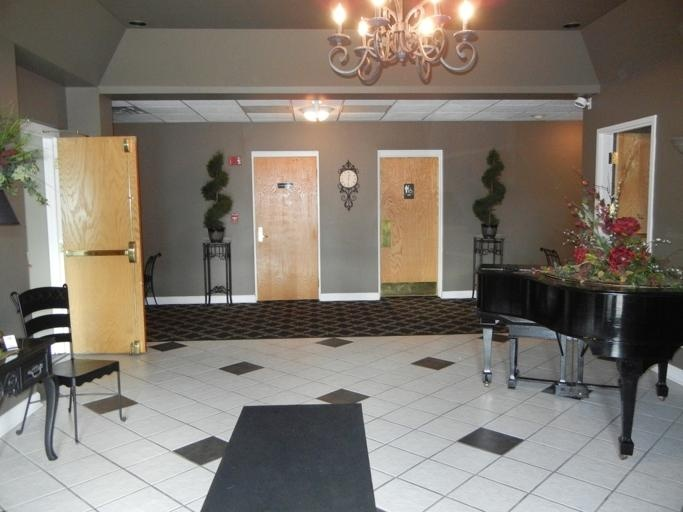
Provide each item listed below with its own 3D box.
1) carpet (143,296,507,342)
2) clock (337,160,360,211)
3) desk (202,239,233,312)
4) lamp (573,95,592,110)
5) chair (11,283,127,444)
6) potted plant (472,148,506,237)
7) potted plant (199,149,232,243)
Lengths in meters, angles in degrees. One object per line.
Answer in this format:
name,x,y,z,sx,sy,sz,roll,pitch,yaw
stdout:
carpet,-0.447,0.980,7.774,5.159,0.099,2.295,-1,9,-3
clock,0.121,-1.280,8.824,0.390,0.874,0.096,-2,10,-6
desk,-2.253,0.297,8.847,0.464,1.120,0.358,-2,1,-11
lamp,3.187,-2.040,6.486,0.211,0.225,0.155,-5,21,-12
chair,-2.431,0.916,4.360,0.764,1.202,0.723,4,3,15
potted plant,2.683,-1.137,8.849,0.528,1.590,0.617,4,11,27
potted plant,-2.210,-1.051,8.604,0.555,1.600,0.519,-2,10,-8
